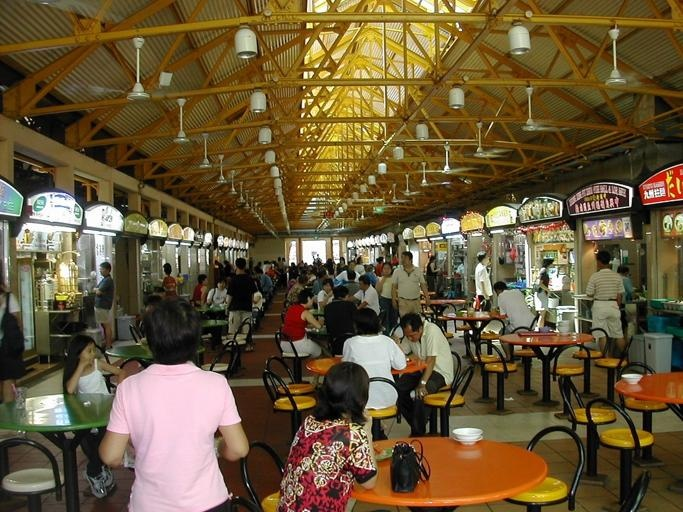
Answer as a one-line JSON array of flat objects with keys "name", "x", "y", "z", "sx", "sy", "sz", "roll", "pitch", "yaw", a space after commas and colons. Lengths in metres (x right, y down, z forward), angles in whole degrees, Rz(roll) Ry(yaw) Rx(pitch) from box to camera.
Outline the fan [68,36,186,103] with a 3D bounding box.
[{"name": "fan", "x": -2.620, "y": -2.431, "z": 7.294, "sx": 0.920, "sy": 0.729, "sz": 1.037, "roll": 28, "pitch": 30, "yaw": 36}]

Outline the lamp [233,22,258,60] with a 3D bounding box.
[{"name": "lamp", "x": -1.126, "y": -2.545, "z": 6.685, "sx": 0.224, "sy": 0.421, "sz": 0.260, "roll": -3, "pitch": -5, "yaw": -2}]

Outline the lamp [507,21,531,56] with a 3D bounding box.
[{"name": "lamp", "x": 2.108, "y": -2.642, "z": 6.848, "sx": 0.231, "sy": 0.438, "sz": 0.396, "roll": -4, "pitch": -5, "yaw": 16}]

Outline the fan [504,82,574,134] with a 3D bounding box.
[{"name": "fan", "x": 3.022, "y": -2.440, "z": 9.330, "sx": 0.698, "sy": 0.641, "sz": 0.619, "roll": -11, "pitch": 19, "yaw": -7}]

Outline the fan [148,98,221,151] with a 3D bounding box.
[{"name": "fan", "x": -3.394, "y": -2.854, "z": 11.829, "sx": 0.781, "sy": 0.861, "sz": 0.801, "roll": 17, "pitch": 14, "yaw": 43}]

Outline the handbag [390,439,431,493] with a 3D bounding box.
[{"name": "handbag", "x": 0.414, "y": 1.321, "z": 3.629, "sx": 0.228, "sy": 0.290, "sz": 0.432, "roll": -2, "pitch": -6, "yaw": 15}]

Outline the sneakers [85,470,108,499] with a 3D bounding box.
[{"name": "sneakers", "x": -2.242, "y": 2.135, "z": 5.246, "sx": 0.115, "sy": 0.304, "sz": 0.128, "roll": -4, "pitch": -38, "yaw": -42}]

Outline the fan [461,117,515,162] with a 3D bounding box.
[{"name": "fan", "x": 2.951, "y": -2.526, "z": 12.204, "sx": 0.927, "sy": 0.639, "sz": 0.914, "roll": 2, "pitch": 20, "yaw": 24}]

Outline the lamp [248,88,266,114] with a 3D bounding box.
[{"name": "lamp", "x": -1.226, "y": -2.307, "z": 8.355, "sx": 0.205, "sy": 0.369, "sz": 0.326, "roll": -2, "pitch": -5, "yaw": -11}]

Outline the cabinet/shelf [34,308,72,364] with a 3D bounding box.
[{"name": "cabinet/shelf", "x": -4.882, "y": 1.328, "z": 9.992, "sx": 0.609, "sy": 0.851, "sz": 0.965, "roll": 0, "pitch": 5, "yaw": -7}]

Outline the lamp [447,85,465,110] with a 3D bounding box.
[{"name": "lamp", "x": 1.664, "y": -2.353, "z": 8.369, "sx": 0.191, "sy": 0.371, "sz": 0.427, "roll": -4, "pitch": -5, "yaw": 17}]
